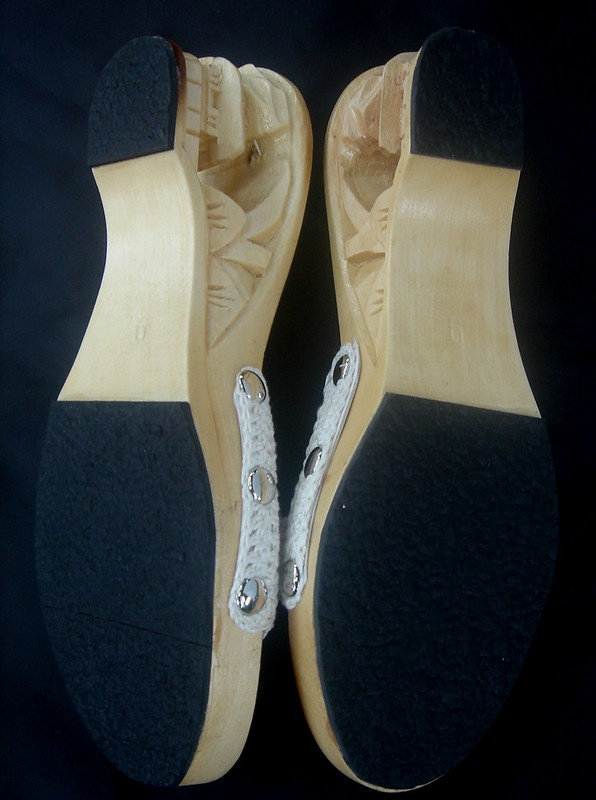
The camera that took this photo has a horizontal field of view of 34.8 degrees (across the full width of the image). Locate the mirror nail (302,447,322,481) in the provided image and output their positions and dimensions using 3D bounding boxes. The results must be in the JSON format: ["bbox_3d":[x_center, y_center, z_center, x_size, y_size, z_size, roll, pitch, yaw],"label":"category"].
[{"bbox_3d":[0.016,0.067,0.993,0.031,0.006,0.019,-62,36,8],"label":"mirror nail"}]

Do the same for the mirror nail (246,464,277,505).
[{"bbox_3d":[-0.037,0.085,0.951,0.022,0.011,0.040,-5,91,-20],"label":"mirror nail"}]

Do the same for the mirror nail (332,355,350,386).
[{"bbox_3d":[0.047,-0.033,1.023,0.015,0.009,0.033,3,77,45],"label":"mirror nail"}]

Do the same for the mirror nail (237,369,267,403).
[{"bbox_3d":[-0.045,-0.015,0.989,0.010,0.024,0.039,-27,62,37],"label":"mirror nail"}]

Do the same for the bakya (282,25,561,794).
[{"bbox_3d":[0.128,-0.072,1.047,0.215,0.293,0.893,3,79,-2],"label":"bakya"}]

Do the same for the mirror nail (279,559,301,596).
[{"bbox_3d":[-0.008,0.176,0.948,0.006,0.021,0.035,11,79,-35],"label":"mirror nail"}]

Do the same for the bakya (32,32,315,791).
[{"bbox_3d":[-0.115,-0.047,1.054,0.218,0.255,0.843,1,80,10],"label":"bakya"}]

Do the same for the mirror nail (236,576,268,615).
[{"bbox_3d":[-0.043,0.186,0.923,0.022,0.010,0.039,14,83,-21],"label":"mirror nail"}]
